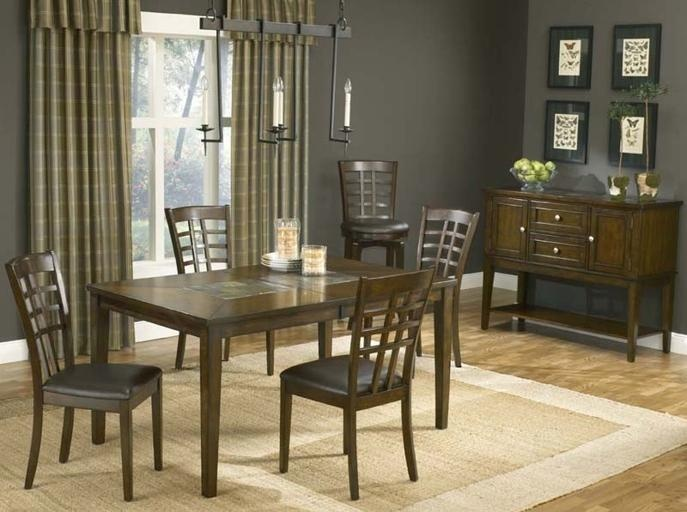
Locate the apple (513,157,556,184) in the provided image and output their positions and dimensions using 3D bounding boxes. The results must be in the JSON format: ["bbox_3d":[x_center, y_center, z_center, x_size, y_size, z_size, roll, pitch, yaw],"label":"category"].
[{"bbox_3d":[1.531,-0.690,5.198,0.260,0.132,0.259,6,7,44],"label":"apple"}]

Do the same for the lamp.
[{"bbox_3d":[-0.401,-1.198,4.138,0.770,0.936,2.377,1,10,-4],"label":"lamp"}]

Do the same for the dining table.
[{"bbox_3d":[-0.546,0.474,3.164,1.601,0.805,1.099,-5,8,-43],"label":"dining table"}]

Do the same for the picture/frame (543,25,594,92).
[{"bbox_3d":[1.912,-1.667,5.349,0.038,0.530,0.415,-10,16,-44],"label":"picture/frame"}]

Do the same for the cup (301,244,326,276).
[{"bbox_3d":[-0.162,0.026,3.512,0.154,0.165,0.151,1,5,0],"label":"cup"}]

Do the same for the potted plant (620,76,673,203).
[{"bbox_3d":[2.311,-0.887,4.841,0.280,0.849,0.575,4,11,12],"label":"potted plant"}]

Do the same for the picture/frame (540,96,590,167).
[{"bbox_3d":[1.905,-1.056,5.415,0.098,0.529,0.437,-6,13,-34],"label":"picture/frame"}]

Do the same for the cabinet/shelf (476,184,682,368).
[{"bbox_3d":[1.876,0.152,4.918,0.568,1.093,1.345,-5,9,-38],"label":"cabinet/shelf"}]

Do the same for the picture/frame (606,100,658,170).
[{"bbox_3d":[2.287,-0.956,4.985,0.030,0.691,0.515,-14,18,-39],"label":"picture/frame"}]
